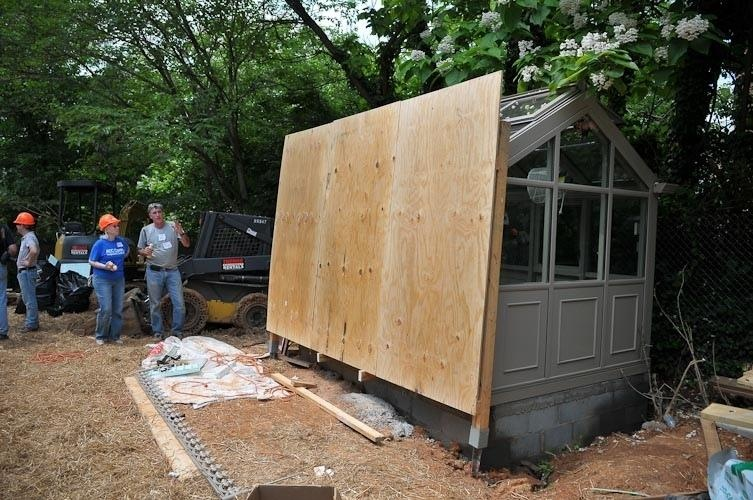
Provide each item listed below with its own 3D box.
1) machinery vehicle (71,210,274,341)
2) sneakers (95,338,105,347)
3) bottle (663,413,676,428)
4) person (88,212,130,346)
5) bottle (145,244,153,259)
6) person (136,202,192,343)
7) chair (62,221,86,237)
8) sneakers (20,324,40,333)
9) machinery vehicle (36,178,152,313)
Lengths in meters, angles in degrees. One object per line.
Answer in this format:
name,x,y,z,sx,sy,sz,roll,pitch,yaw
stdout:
machinery vehicle,-3.950,0.476,11.909,3.352,2.773,2.291,2,1,-41
sneakers,-5.496,1.843,10.472,0.085,0.104,0.226,1,-4,-41
bottle,4.485,2.595,8.036,0.205,0.154,0.163,-1,14,-10
person,-5.320,0.623,10.480,0.579,2.476,0.766,9,16,27
bottle,-4.495,0.046,10.399,0.130,0.288,0.237,-4,15,-21
person,-4.338,0.469,10.706,0.875,2.795,0.818,-1,14,-9
chair,-7.659,-0.513,13.370,0.517,0.484,0.530,-3,-1,38
sneakers,-7.499,1.714,11.401,0.352,0.159,0.130,4,2,-29
machinery vehicle,-7.520,-0.092,13.378,2.925,3.015,1.888,1,-1,-38
